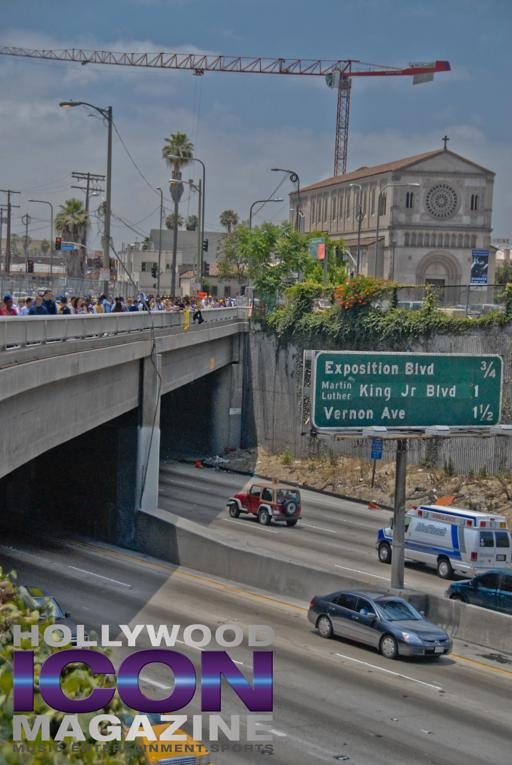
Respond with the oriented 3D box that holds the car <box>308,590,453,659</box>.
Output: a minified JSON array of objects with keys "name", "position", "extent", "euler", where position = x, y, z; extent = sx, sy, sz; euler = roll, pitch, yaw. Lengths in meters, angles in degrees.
[{"name":"car","position":[3.111,6.023,21.810],"extent":[1.345,1.089,3.234],"euler":[4,-2,-42]}]

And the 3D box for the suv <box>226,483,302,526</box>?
[{"name":"suv","position":[0.392,5.911,42.395],"extent":[1.774,1.671,3.076],"euler":[1,10,-43]}]
